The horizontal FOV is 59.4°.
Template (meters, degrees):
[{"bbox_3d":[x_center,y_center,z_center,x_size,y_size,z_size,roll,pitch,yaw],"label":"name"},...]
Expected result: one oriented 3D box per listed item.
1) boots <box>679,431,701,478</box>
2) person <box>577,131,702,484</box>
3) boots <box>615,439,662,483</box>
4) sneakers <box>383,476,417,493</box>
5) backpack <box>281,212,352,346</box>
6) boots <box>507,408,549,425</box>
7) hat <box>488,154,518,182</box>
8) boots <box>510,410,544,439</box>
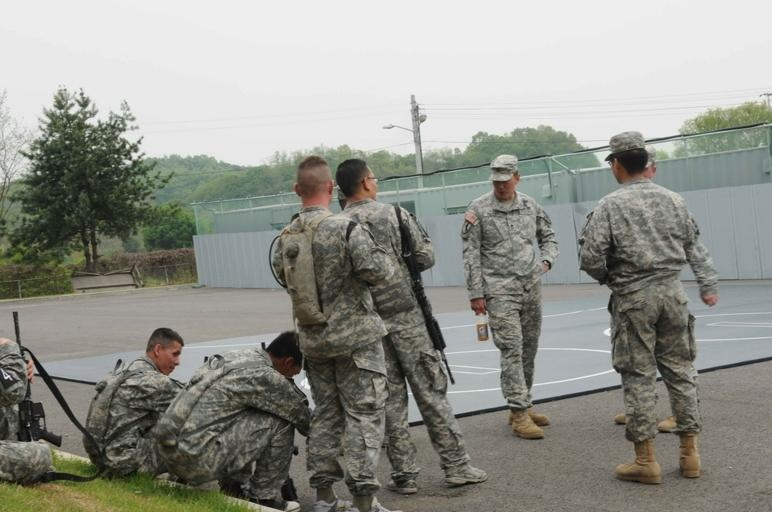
[{"bbox_3d":[2.608,1.687,5.769,0.170,0.372,0.188,-4,4,21],"label":"boots"},{"bbox_3d":[2.327,0.394,5.906,1.103,3.001,0.698,-5,4,3],"label":"person"},{"bbox_3d":[2.173,1.748,5.818,0.207,0.379,0.422,6,-13,-32],"label":"boots"},{"bbox_3d":[0.146,1.990,5.940,0.116,0.117,0.274,-1,2,-32],"label":"sneakers"},{"bbox_3d":[-0.633,0.120,5.469,0.489,0.934,0.271,-5,4,8],"label":"backpack"},{"bbox_3d":[1.522,1.698,7.142,0.527,0.203,0.168,-1,7,12],"label":"boots"},{"bbox_3d":[1.243,-0.931,7.124,0.283,0.292,0.290,-4,3,8],"label":"hat"},{"bbox_3d":[1.473,1.673,6.908,0.389,0.278,0.436,-4,3,8],"label":"boots"}]
